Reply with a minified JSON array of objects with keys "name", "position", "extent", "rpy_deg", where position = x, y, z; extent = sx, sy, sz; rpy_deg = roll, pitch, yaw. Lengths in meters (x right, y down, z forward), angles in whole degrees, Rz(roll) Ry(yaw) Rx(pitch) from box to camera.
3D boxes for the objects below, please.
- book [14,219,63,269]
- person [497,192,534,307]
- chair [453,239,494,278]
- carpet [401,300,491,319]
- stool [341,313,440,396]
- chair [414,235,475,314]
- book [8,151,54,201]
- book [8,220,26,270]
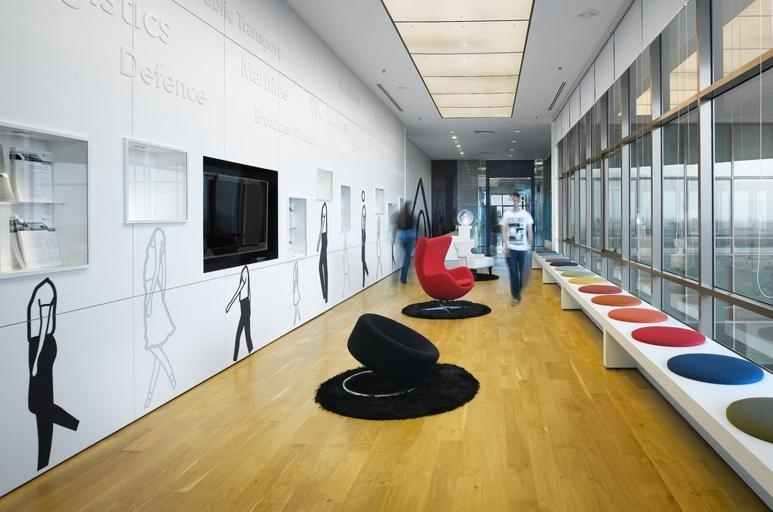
[{"name":"book","position":[-2.622,-0.085,3.362],"extent":[0.048,0.335,0.354],"rpy_deg":[-15,-1,16]},{"name":"person","position":[2.388,-0.158,8.308],"extent":[0.565,2.018,0.488],"rpy_deg":[-9,12,-41]},{"name":"chair","position":[2.260,0.029,11.893],"extent":[1.063,1.274,0.938],"rpy_deg":[-1,1,36]},{"name":"carpet","position":[1.015,0.920,7.717],"extent":[1.525,0.108,1.348],"rpy_deg":[-1,11,-4]},{"name":"stool","position":[0.079,0.948,4.545],"extent":[0.874,0.723,0.705],"rpy_deg":[1,10,9]},{"name":"chair","position":[1.082,0.277,8.150],"extent":[1.152,1.612,1.154],"rpy_deg":[2,3,31]},{"name":"book","position":[-2.664,-0.605,3.341],"extent":[0.057,0.447,0.377],"rpy_deg":[-1,1,18]},{"name":"book","position":[-2.691,-0.095,3.259],"extent":[0.080,0.369,0.098],"rpy_deg":[-9,12,-41]}]
